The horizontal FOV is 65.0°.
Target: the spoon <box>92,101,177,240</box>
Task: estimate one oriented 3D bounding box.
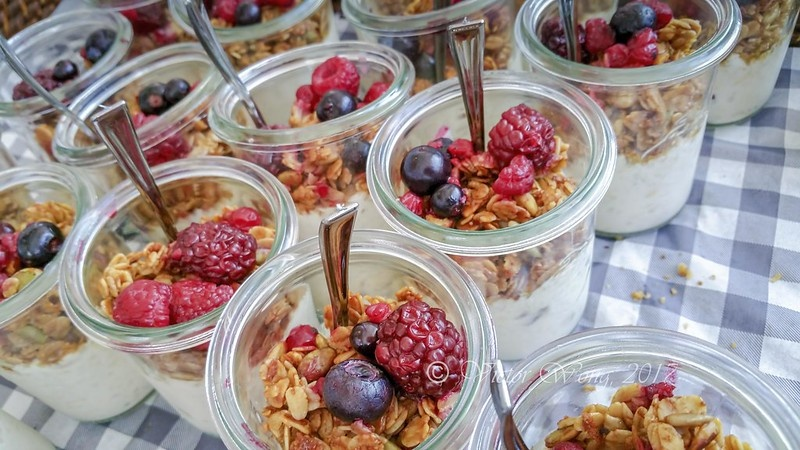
[{"bbox_3d":[-0.605,-0.116,1.538,0.113,0.383,0.054,-33,45,-16],"label":"spoon"}]

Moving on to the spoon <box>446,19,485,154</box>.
[{"bbox_3d":[0.184,-0.332,1.512,0.098,0.305,0.066,-33,34,-33],"label":"spoon"}]

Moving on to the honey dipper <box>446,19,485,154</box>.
[{"bbox_3d":[0.184,-0.332,1.512,0.098,0.305,0.066,-33,34,-33],"label":"honey dipper"}]
